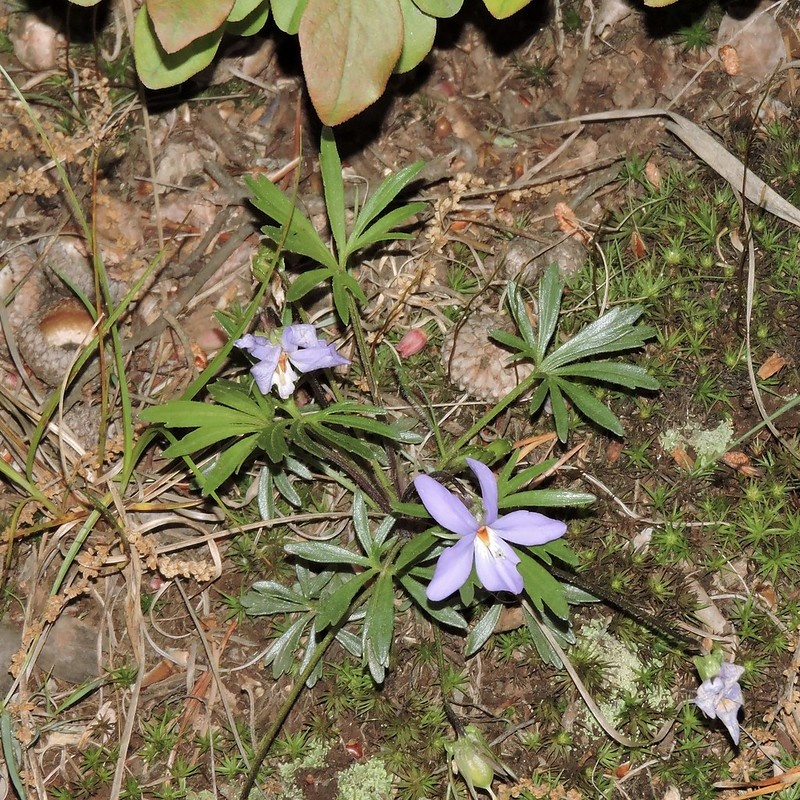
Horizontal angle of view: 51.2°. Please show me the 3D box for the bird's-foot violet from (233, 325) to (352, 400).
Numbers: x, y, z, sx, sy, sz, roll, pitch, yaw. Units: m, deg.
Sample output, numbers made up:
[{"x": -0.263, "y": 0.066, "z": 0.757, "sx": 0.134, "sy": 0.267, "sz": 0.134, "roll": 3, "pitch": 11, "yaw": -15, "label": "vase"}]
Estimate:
[{"x": -0.305, "y": -0.144, "z": 2.303, "sx": 0.286, "sy": 0.213, "sz": 0.144, "roll": 8, "pitch": 84, "yaw": -3, "label": "bird's-foot violet"}]

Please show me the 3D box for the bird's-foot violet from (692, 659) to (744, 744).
[{"x": 0.858, "y": 0.786, "z": 2.241, "sx": 0.128, "sy": 0.077, "sz": 0.244, "roll": -19, "pitch": 51, "yaw": 18, "label": "bird's-foot violet"}]
